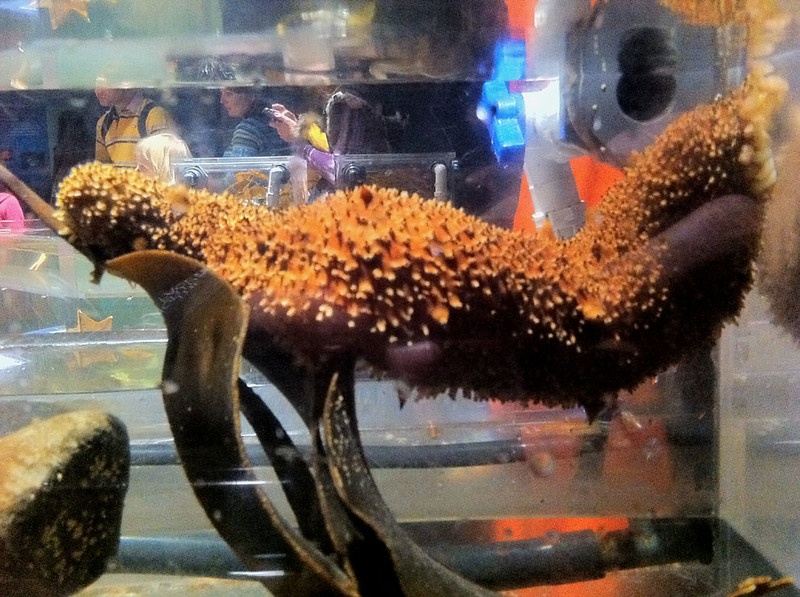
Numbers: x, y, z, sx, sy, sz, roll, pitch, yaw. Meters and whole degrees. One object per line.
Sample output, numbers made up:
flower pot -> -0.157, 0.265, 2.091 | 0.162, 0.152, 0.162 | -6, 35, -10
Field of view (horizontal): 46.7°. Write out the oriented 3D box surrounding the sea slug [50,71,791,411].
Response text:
sea slug -> 0.036, -0.070, 0.906 | 0.671, 0.343, 0.194 | -1, -11, -8
